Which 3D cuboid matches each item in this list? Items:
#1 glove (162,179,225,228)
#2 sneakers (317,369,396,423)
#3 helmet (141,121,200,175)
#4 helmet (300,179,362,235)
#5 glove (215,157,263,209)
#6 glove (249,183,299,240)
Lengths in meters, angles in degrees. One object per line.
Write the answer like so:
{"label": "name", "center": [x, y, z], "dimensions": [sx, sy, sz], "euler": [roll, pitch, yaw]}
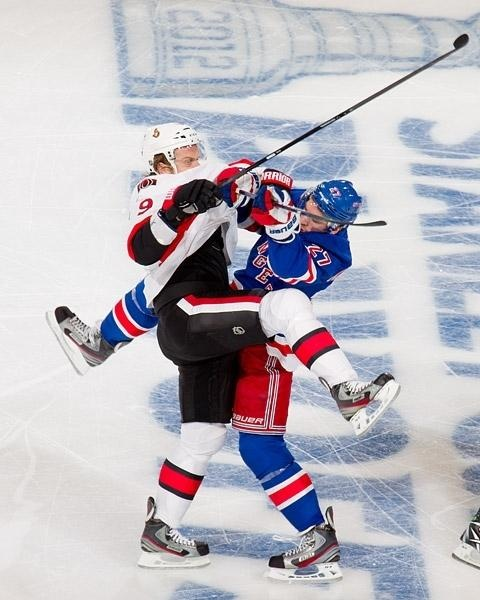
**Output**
{"label": "glove", "center": [-0.131, -0.360, 2.475], "dimensions": [0.202, 0.104, 0.260], "euler": [-13, 11, 12]}
{"label": "sneakers", "center": [0.403, 0.293, 2.343], "dimensions": [0.114, 0.285, 0.155], "euler": [-15, 65, -33]}
{"label": "helmet", "center": [-0.245, -0.597, 2.849], "dimensions": [0.260, 0.182, 0.197], "euler": [-3, 7, 32]}
{"label": "helmet", "center": [0.391, -0.339, 2.783], "dimensions": [0.243, 0.206, 0.162], "euler": [20, 58, -31]}
{"label": "glove", "center": [-0.005, -0.433, 2.597], "dimensions": [0.173, 0.172, 0.083], "euler": [2, 16, -18]}
{"label": "glove", "center": [0.132, -0.313, 2.552], "dimensions": [0.154, 0.191, 0.144], "euler": [-11, 30, -11]}
